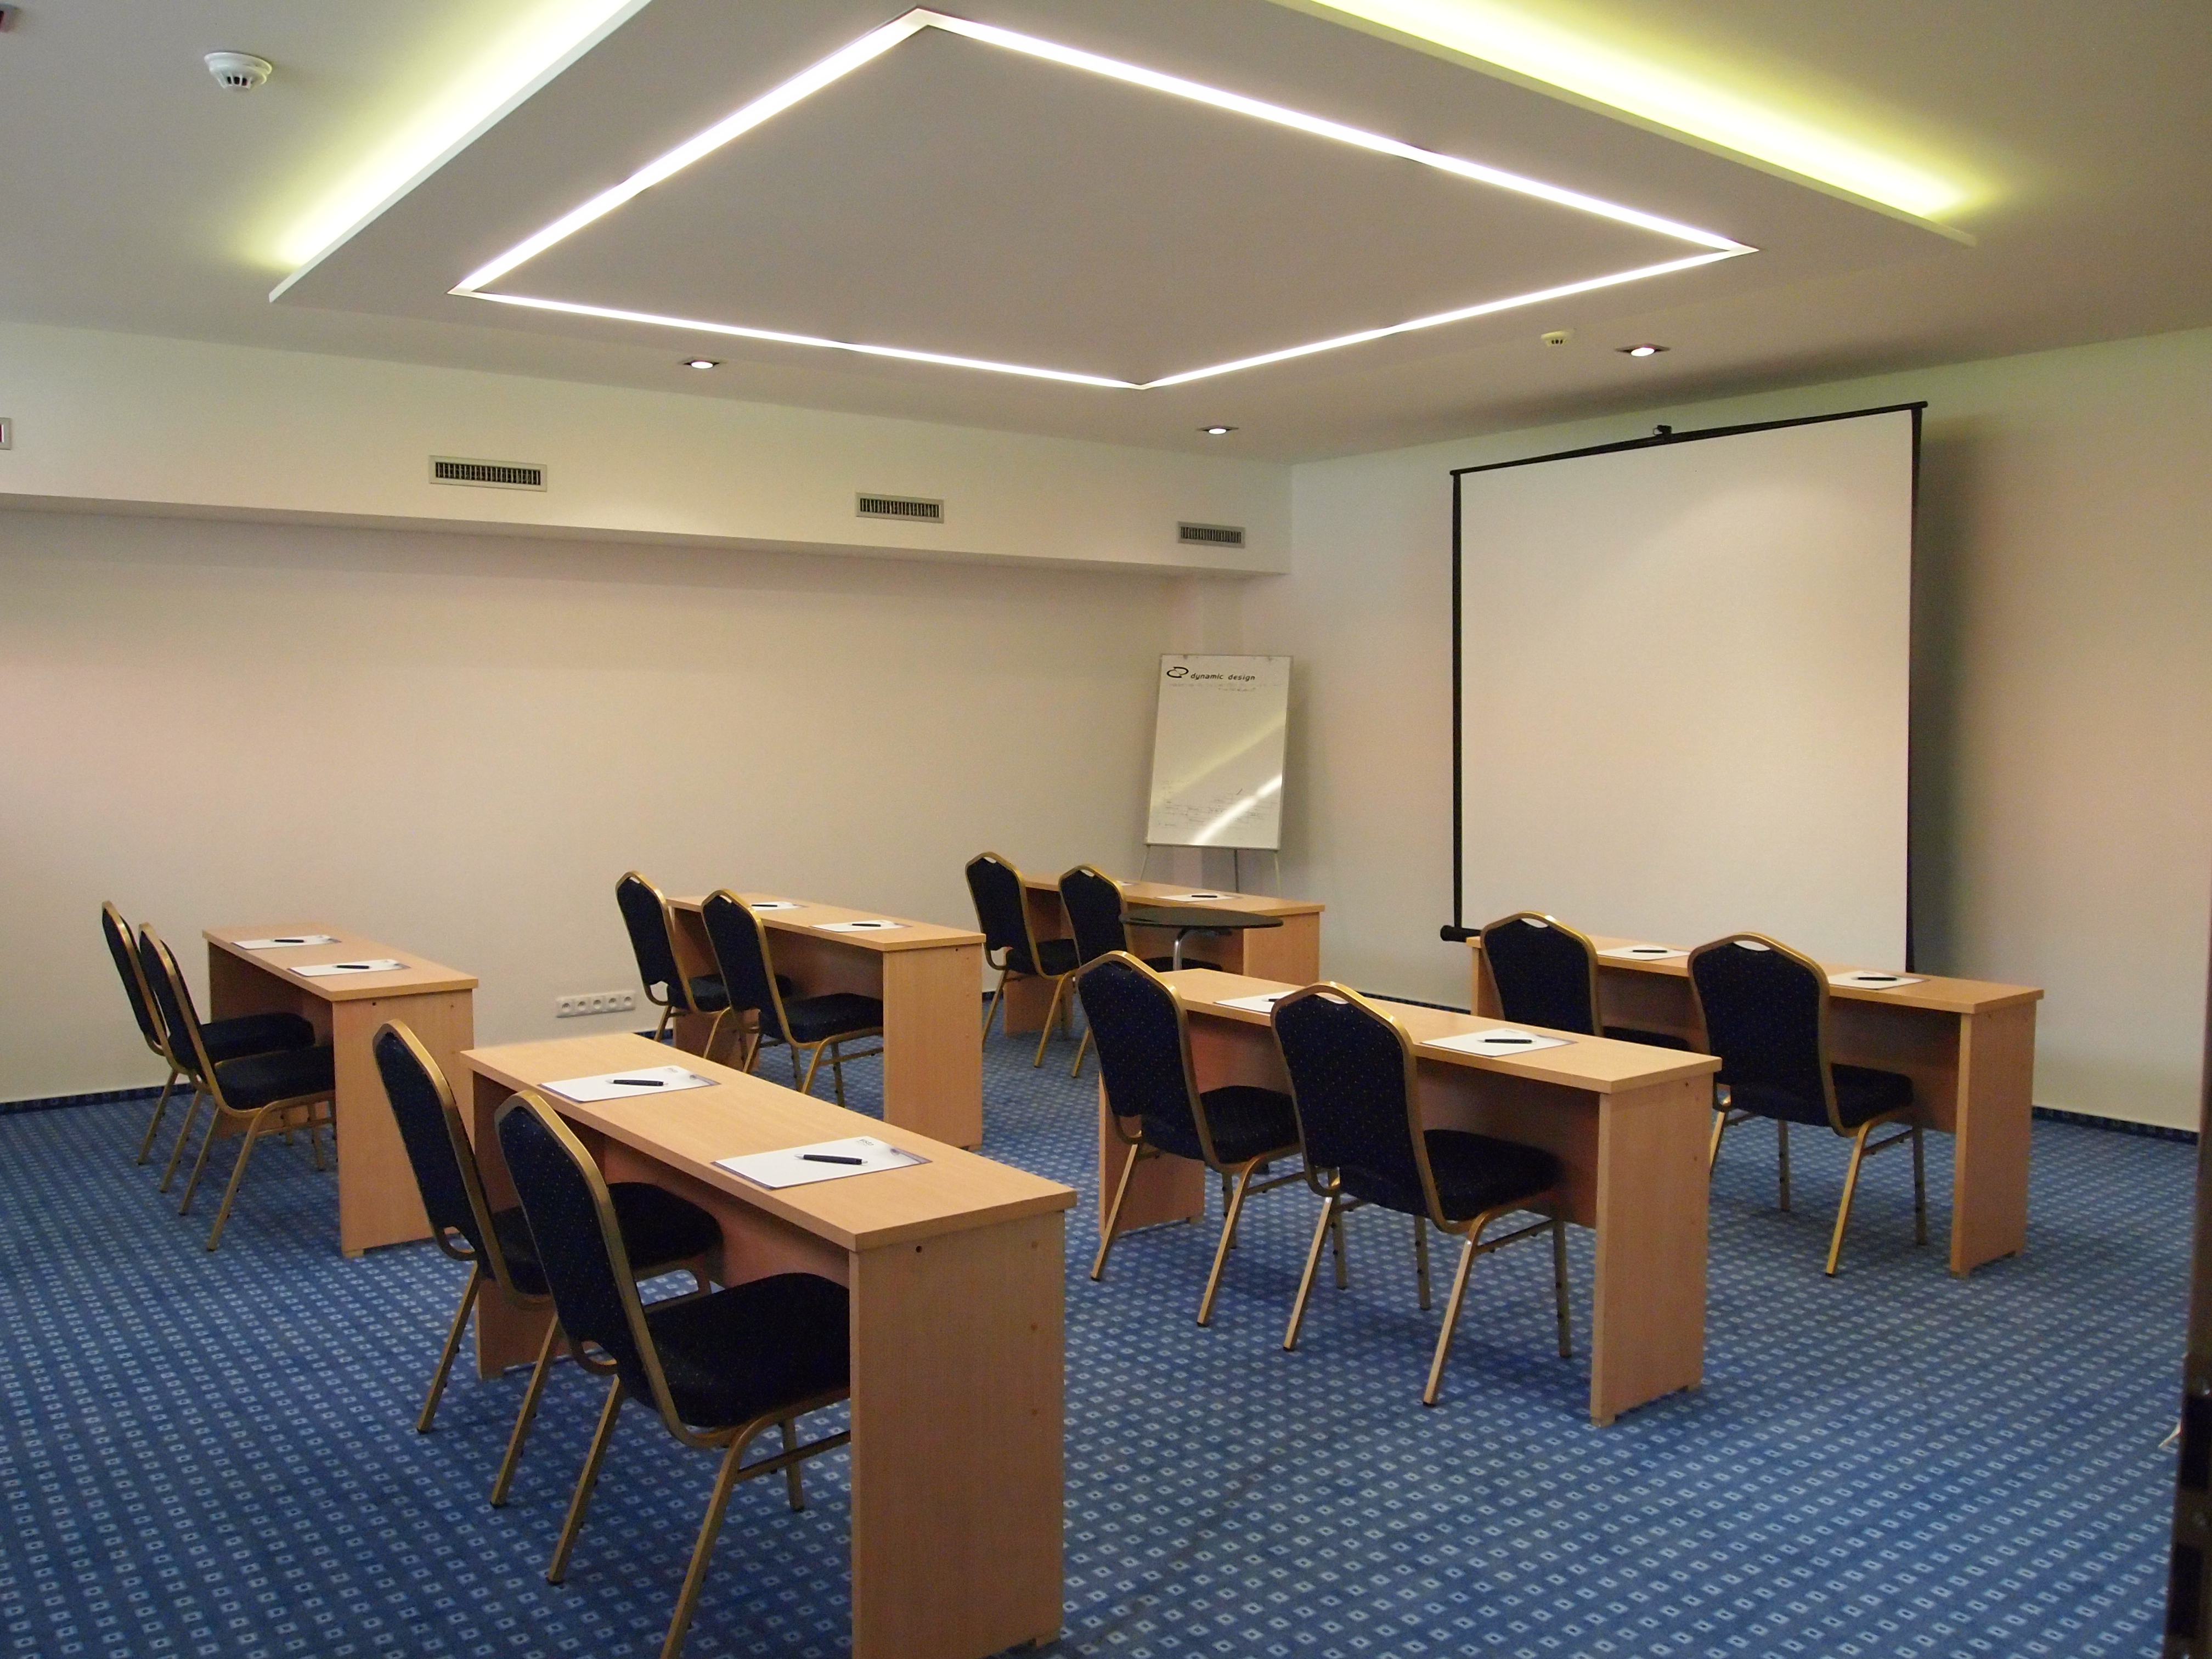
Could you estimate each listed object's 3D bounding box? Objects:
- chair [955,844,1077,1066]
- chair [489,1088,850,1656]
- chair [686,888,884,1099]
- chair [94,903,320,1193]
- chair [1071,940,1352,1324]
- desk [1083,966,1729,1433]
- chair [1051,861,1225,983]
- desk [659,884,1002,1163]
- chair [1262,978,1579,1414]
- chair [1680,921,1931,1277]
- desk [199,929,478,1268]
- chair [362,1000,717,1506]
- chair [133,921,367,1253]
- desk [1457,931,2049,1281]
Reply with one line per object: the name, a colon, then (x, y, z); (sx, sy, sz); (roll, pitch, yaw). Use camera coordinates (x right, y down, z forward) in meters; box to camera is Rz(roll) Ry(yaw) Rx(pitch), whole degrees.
chair: (-0.336, 0.674, 8.314); (0.701, 1.092, 0.579); (-6, 8, -37)
chair: (-0.928, 1.160, 3.490); (0.661, 1.221, 0.942); (-6, 11, -35)
chair: (-1.301, 0.828, 6.888); (0.815, 1.120, 0.694); (-7, 10, -32)
chair: (-3.452, 0.907, 6.213); (0.657, 1.157, 0.788); (22, 16, 39)
chair: (0.370, 0.952, 5.167); (0.713, 1.167, 0.812); (3, 8, 42)
desk: (0.915, 1.090, 5.057); (1.831, 1.024, 0.582); (8, 8, 43)
chair: (0.065, 0.445, 7.939); (0.579, 0.907, 0.494); (-5, 7, -39)
desk: (-1.362, 0.638, 7.186); (1.437, 0.809, 0.449); (20, 21, 36)
chair: (0.943, 1.019, 4.657); (0.688, 1.190, 0.791); (1, 4, 44)
chair: (2.471, 0.915, 5.525); (0.732, 1.127, 0.662); (-5, 6, -24)
desk: (-3.049, 0.806, 6.114); (0.565, 0.942, 1.547); (-3, 16, -45)
chair: (-1.454, 1.077, 4.110); (0.811, 1.201, 0.646); (-3, 6, -41)
chair: (-3.273, 0.909, 5.986); (0.646, 1.135, 0.772); (14, 14, 35)
desk: (2.556, 0.891, 5.977); (0.478, 0.788, 1.569); (-1, 5, -41)
